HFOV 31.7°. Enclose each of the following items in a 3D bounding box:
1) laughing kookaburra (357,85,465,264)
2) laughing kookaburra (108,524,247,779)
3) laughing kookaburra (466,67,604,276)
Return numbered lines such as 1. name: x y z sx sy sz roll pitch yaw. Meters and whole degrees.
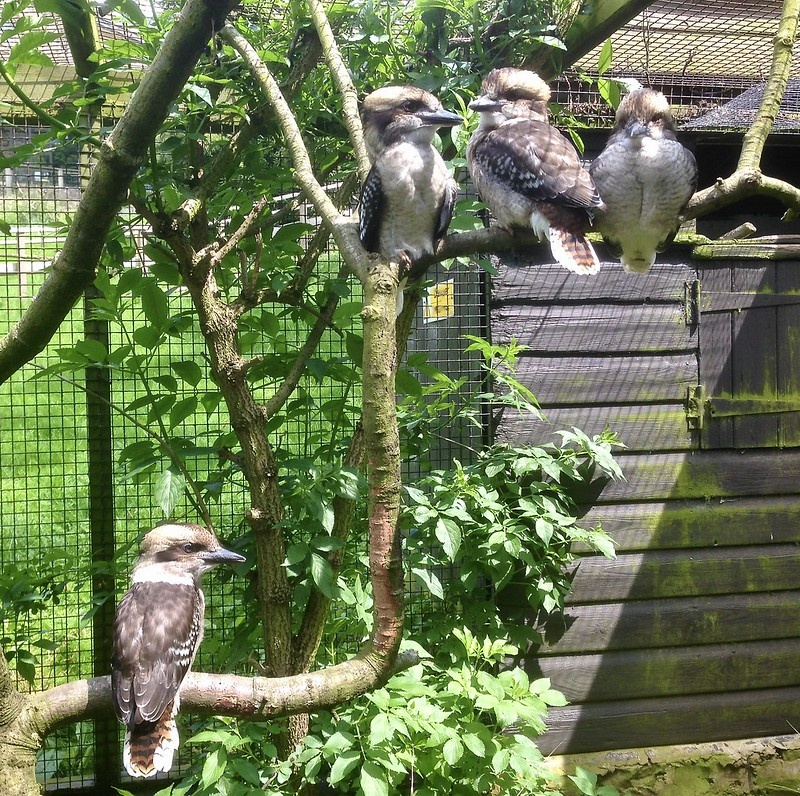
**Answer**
1. laughing kookaburra: 0.021 -0.672 4.441 0.334 0.599 0.631 -9 13 -30
2. laughing kookaburra: -0.731 0.732 4.331 0.251 0.611 0.582 11 40 21
3. laughing kookaburra: 0.404 -0.696 4.538 0.663 0.779 0.348 0 1 -6
